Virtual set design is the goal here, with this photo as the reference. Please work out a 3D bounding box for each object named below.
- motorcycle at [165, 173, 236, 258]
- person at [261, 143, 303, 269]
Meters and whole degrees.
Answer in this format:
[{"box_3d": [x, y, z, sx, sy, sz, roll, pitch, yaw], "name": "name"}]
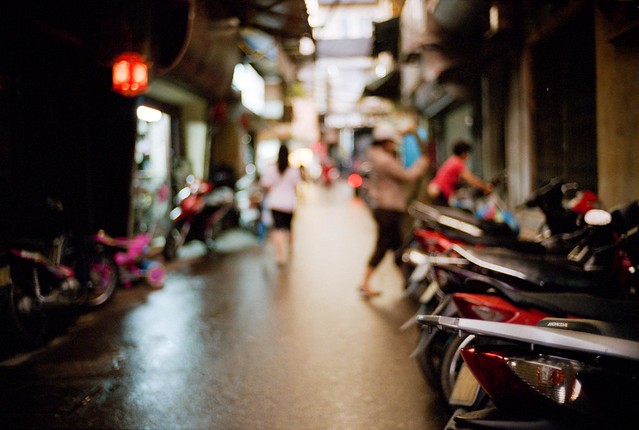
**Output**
[{"box_3d": [-2.459, -0.068, 12.003, 1.133, 1.405, 2.311, 4, 18, 15], "name": "motorcycle"}, {"box_3d": [-0.758, -0.207, 10.843, 0.663, 2.398, 0.522, 6, 11, 42], "name": "person"}]
